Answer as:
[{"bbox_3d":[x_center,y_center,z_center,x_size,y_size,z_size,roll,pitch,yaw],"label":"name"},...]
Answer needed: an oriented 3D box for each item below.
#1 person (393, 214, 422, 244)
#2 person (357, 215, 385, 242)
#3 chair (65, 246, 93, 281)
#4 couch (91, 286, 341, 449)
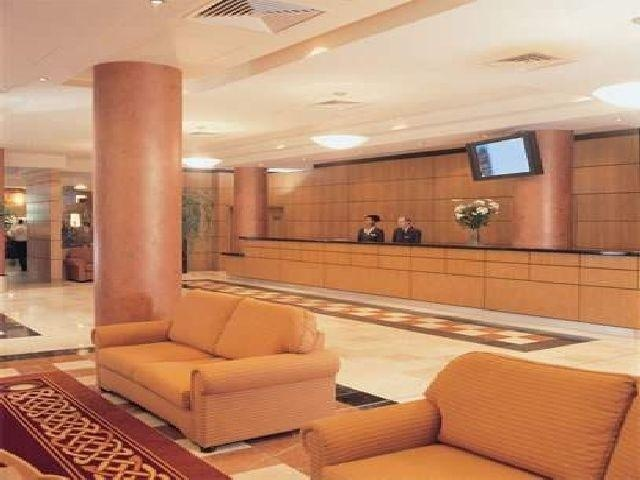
[{"bbox_3d":[2.255,-0.195,12.617,0.793,0.754,0.327,-4,-29,30],"label":"person"},{"bbox_3d":[1.321,-0.305,13.030,0.614,0.649,0.879,1,2,3],"label":"person"},{"bbox_3d":[-6.476,0.620,13.608,0.944,1.014,0.478,2,2,37],"label":"chair"},{"bbox_3d":[-1.113,1.042,4.726,1.266,0.760,2.479,-5,4,-40],"label":"couch"}]
